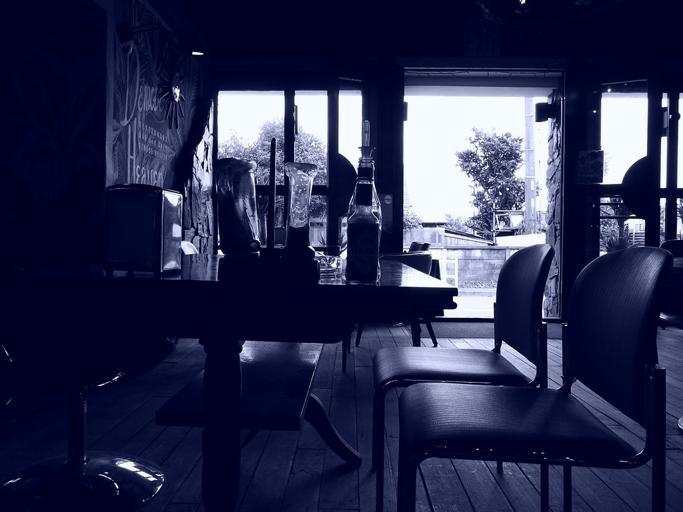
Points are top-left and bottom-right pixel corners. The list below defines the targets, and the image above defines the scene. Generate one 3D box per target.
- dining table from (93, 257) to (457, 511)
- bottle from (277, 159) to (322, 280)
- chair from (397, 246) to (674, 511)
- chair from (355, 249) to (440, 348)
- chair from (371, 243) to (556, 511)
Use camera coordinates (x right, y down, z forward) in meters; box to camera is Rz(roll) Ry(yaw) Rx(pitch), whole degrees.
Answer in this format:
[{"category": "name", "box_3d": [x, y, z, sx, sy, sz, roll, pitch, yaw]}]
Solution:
[{"category": "dining table", "box_3d": [-0.201, 0.384, 2.531, 0.943, 0.706, 1.038, 1, -1, 1]}, {"category": "bottle", "box_3d": [-0.171, -0.148, 2.432, 0.175, 0.493, 0.191, 0, 2, 0]}, {"category": "chair", "box_3d": [0.728, 0.497, 2.897, 0.993, 1.511, 0.961, 1, -1, 1]}, {"category": "chair", "box_3d": [0.476, 0.364, 4.981, 0.668, 1.005, 0.736, 1, -4, 1]}, {"category": "chair", "box_3d": [0.547, 0.484, 3.385, 1.004, 1.692, 0.932, 2, 0, 0]}]
